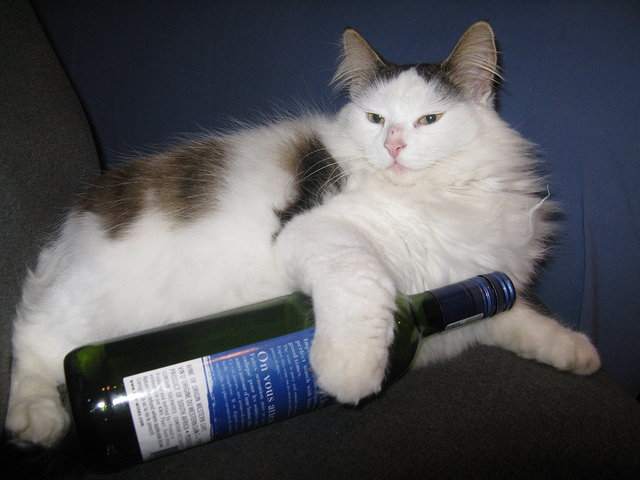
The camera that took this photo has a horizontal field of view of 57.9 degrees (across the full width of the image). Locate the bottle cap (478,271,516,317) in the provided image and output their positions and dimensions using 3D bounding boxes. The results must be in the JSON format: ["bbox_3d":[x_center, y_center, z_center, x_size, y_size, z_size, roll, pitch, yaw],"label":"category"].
[{"bbox_3d":[0.339,0.108,1.138,0.044,0.056,0.078,-13,77,-15],"label":"bottle cap"}]

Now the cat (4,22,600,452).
[{"bbox_3d":[-0.089,0.050,1.513,1.271,0.924,0.720,-6,-9,16],"label":"cat"}]
